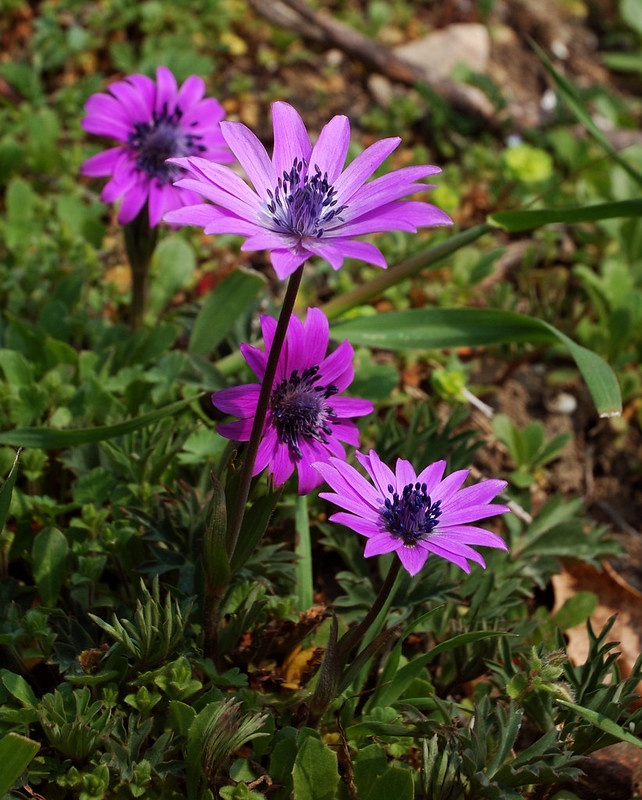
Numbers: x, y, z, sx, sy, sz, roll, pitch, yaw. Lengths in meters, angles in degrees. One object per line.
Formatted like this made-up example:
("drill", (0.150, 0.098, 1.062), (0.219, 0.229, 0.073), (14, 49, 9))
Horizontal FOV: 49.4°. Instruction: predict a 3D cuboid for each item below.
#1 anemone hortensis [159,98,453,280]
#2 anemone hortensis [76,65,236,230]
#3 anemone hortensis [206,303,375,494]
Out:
("anemone hortensis", (-0.020, -0.279, 0.995), (0.374, 0.089, 0.349), (-16, 42, -27))
("anemone hortensis", (-0.395, -0.561, 1.656), (0.359, 0.091, 0.359), (15, 17, -28))
("anemone hortensis", (-0.048, 0.014, 1.212), (0.329, 0.301, 0.084), (6, -18, -29))
